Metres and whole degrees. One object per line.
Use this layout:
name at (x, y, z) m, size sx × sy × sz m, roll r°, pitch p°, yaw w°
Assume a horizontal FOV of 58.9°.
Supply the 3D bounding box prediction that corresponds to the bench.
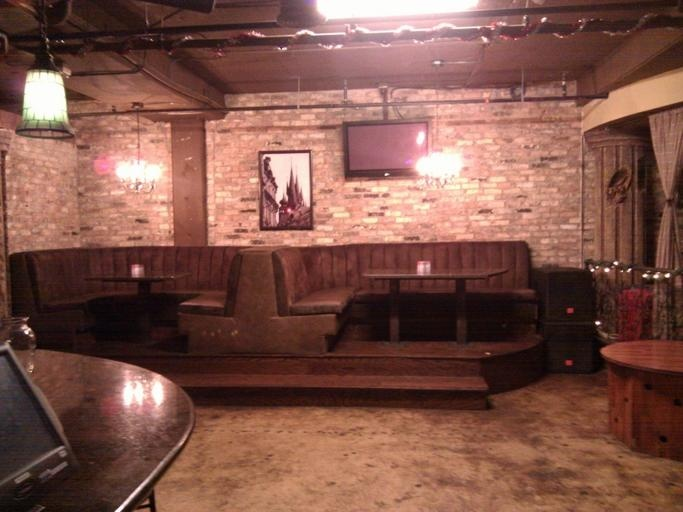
bench at (-0.721, 0.384, 6.862) m, size 5.576 × 1.220 × 2.352 m, roll -1°, pitch 0°, yaw 12°

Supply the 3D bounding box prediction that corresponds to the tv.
tv at (0.615, -1.383, 7.693) m, size 1.023 × 0.544 × 0.097 m, roll 0°, pitch 2°, yaw 6°

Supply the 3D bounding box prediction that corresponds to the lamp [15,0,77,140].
lamp at (-1.873, -1.201, 3.813) m, size 0.304 × 0.849 × 0.558 m, roll -2°, pitch 0°, yaw -24°

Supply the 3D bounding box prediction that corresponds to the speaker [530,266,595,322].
speaker at (2.353, 0.414, 6.541) m, size 0.604 × 0.584 × 1.009 m, roll 0°, pitch 2°, yaw 14°

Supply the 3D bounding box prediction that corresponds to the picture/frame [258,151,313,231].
picture/frame at (-0.729, -0.863, 7.913) m, size 0.675 × 1.027 × 0.091 m, roll -2°, pitch 0°, yaw 7°

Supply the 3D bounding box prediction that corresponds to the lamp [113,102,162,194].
lamp at (-2.610, -1.340, 7.722) m, size 0.563 × 1.113 × 0.871 m, roll -2°, pitch 0°, yaw -10°
